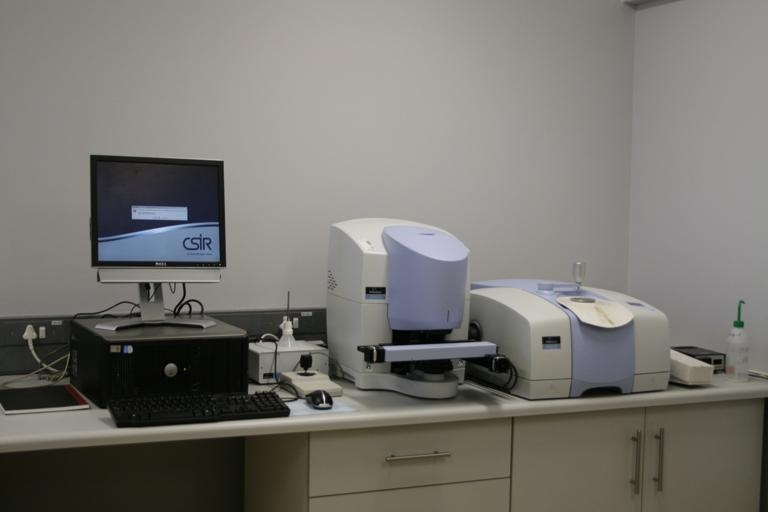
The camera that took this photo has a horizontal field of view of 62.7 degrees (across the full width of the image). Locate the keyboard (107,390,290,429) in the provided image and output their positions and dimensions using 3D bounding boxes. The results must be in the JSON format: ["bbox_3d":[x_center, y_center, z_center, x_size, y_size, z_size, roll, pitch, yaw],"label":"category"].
[{"bbox_3d":[-0.666,0.554,2.294,0.630,0.078,0.182,-3,6,-12],"label":"keyboard"}]
